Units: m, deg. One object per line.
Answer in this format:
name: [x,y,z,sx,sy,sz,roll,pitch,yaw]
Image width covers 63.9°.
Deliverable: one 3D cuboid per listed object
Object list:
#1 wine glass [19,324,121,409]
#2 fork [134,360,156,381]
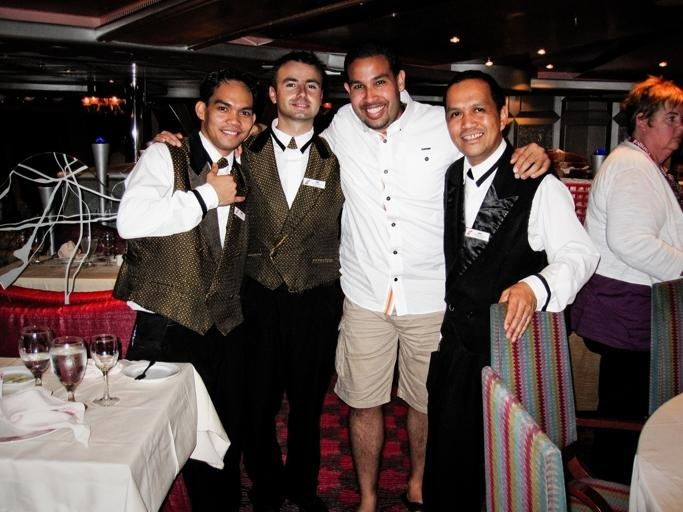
wine glass: [-1.085,0.449,2.176,0.275,0.228,0.101,1,12,-1]
fork: [-0.823,0.476,2.295,0.024,0.016,0.115,4,25,11]
